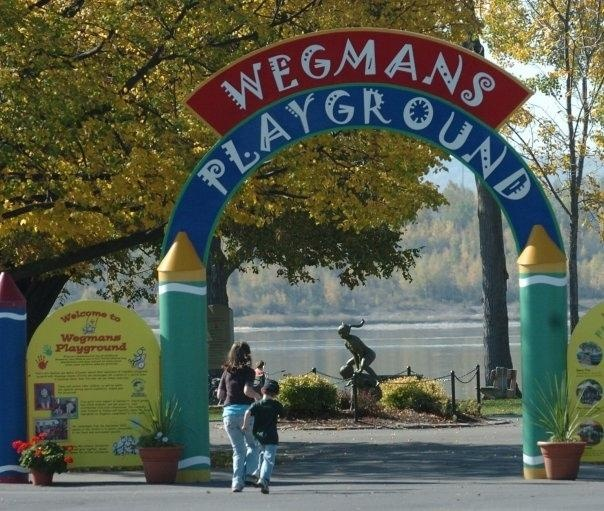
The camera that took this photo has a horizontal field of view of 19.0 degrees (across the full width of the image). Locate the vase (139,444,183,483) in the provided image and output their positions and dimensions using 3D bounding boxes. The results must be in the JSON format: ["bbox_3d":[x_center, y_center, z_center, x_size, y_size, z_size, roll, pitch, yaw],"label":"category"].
[{"bbox_3d":[-2.412,3.505,30.509,0.574,0.497,0.623,0,-4,12],"label":"vase"}]

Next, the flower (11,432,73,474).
[{"bbox_3d":[-4.443,3.366,30.727,0.740,0.715,0.763,4,-1,-27],"label":"flower"}]

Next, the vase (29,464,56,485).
[{"bbox_3d":[-4.421,3.694,30.669,0.304,0.227,0.315,3,-4,-29],"label":"vase"}]

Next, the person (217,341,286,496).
[{"bbox_3d":[-0.892,2.713,30.616,0.814,2.628,1.137,3,-10,-31],"label":"person"}]

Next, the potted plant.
[{"bbox_3d":[4.357,2.879,30.596,1.244,1.783,0.554,-3,-9,9],"label":"potted plant"}]

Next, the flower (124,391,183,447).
[{"bbox_3d":[-2.533,2.828,30.836,0.678,0.899,0.799,3,-4,-24],"label":"flower"}]
